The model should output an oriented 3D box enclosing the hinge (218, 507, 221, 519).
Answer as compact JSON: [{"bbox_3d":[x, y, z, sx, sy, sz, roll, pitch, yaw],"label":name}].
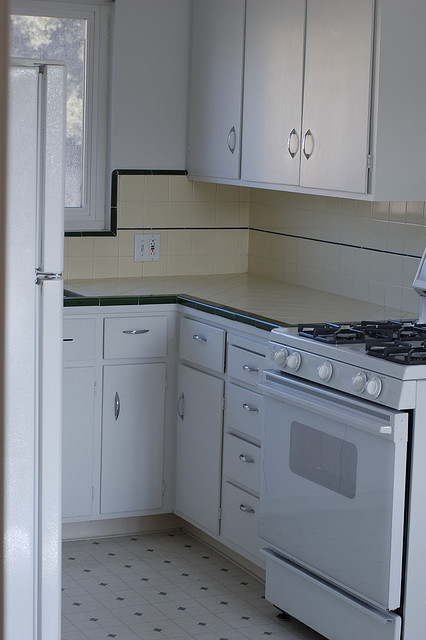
[{"bbox_3d":[0.033,0.988,2.907,0.002,0.059,0.020,-4,8,-45],"label":"hinge"}]

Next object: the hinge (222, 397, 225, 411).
[{"bbox_3d":[0.051,0.419,2.846,0.019,0.064,0.009,6,7,35],"label":"hinge"}]

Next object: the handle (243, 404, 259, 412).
[{"bbox_3d":[0.174,0.411,2.640,0.020,0.027,0.091,-10,15,-33],"label":"handle"}]

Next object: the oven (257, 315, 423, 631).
[{"bbox_3d":[0.465,0.654,2.150,0.326,1.218,0.686,-1,7,-26],"label":"oven"}]

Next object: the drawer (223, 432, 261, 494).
[{"bbox_3d":[0.144,0.681,2.749,0.121,0.217,0.195,-8,19,-44],"label":"drawer"}]

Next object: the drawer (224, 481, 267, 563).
[{"bbox_3d":[0.212,0.990,2.812,0.221,0.296,0.293,-3,4,-39],"label":"drawer"}]

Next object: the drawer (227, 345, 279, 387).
[{"bbox_3d":[0.208,0.209,2.737,0.286,0.189,0.226,10,11,41],"label":"drawer"}]

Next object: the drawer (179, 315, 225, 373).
[{"bbox_3d":[-0.045,0.112,2.951,0.235,0.265,0.147,16,19,37],"label":"drawer"}]

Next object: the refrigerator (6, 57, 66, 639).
[{"bbox_3d":[-0.512,0.123,1.639,0.159,1.746,0.249,0,6,-15],"label":"refrigerator"}]

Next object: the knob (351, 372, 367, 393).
[{"bbox_3d":[0.496,0.214,1.938,0.021,0.073,0.066,-3,8,-39],"label":"knob"}]

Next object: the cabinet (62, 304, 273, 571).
[{"bbox_3d":[-0.262,0.537,3.138,1.513,1.230,1.035,4,6,8],"label":"cabinet"}]

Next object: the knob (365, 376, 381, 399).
[{"bbox_3d":[0.533,0.223,1.892,0.054,0.074,0.023,5,7,26],"label":"knob"}]

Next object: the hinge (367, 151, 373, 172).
[{"bbox_3d":[0.663,-0.670,2.397,0.024,0.073,0.004,5,6,29],"label":"hinge"}]

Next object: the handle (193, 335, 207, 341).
[{"bbox_3d":[-0.068,0.092,2.949,0.080,0.033,0.024,23,10,33],"label":"handle"}]

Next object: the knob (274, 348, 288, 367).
[{"bbox_3d":[0.266,0.149,2.253,0.014,0.069,0.049,9,-9,-37],"label":"knob"}]

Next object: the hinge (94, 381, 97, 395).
[{"bbox_3d":[-0.618,0.357,2.987,0.013,0.064,0.003,-1,6,-29],"label":"hinge"}]
